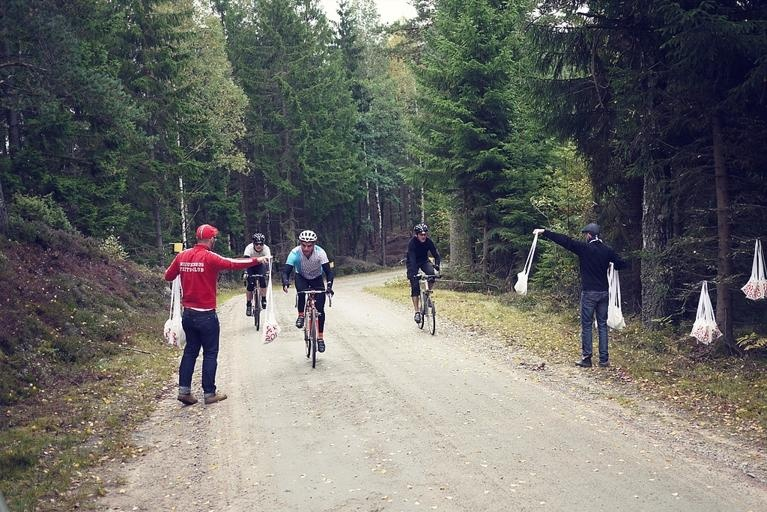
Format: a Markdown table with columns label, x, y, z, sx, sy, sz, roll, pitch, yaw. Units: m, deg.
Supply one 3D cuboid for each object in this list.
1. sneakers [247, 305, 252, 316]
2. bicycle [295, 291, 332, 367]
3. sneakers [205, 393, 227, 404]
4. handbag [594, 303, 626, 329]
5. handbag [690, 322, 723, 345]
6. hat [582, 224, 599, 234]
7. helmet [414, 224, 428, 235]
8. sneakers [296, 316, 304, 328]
| label | x | y | z | sx | sy | sz | roll | pitch | yaw |
| --- | --- | --- | --- | --- | --- | --- | --- | --- | --- |
| sneakers | -4.432 | 1.794 | 26.340 | 0.193 | 0.291 | 0.282 | 1 | -8 | -4 |
| bicycle | -1.969 | 1.988 | 22.374 | 0.592 | 1.767 | 1.196 | 1 | 0 | -10 |
| sneakers | -4.264 | 3.560 | 20.229 | 0.579 | 0.261 | 0.226 | -5 | 5 | -23 |
| handbag | 6.299 | 1.666 | 22.275 | 0.783 | 0.847 | 0.398 | -2 | -29 | 8 |
| handbag | 8.625 | 1.989 | 21.334 | 0.584 | 0.607 | 0.623 | -1 | 3 | 24 |
| hat | 5.708 | -0.745 | 22.123 | 0.351 | 0.286 | 0.486 | 1 | 22 | -17 |
| helmet | 1.171 | -0.798 | 24.478 | 0.285 | 0.351 | 0.349 | -5 | 19 | -15 |
| sneakers | -2.341 | 1.852 | 22.328 | 0.204 | 0.302 | 0.291 | 1 | -6 | -9 |
